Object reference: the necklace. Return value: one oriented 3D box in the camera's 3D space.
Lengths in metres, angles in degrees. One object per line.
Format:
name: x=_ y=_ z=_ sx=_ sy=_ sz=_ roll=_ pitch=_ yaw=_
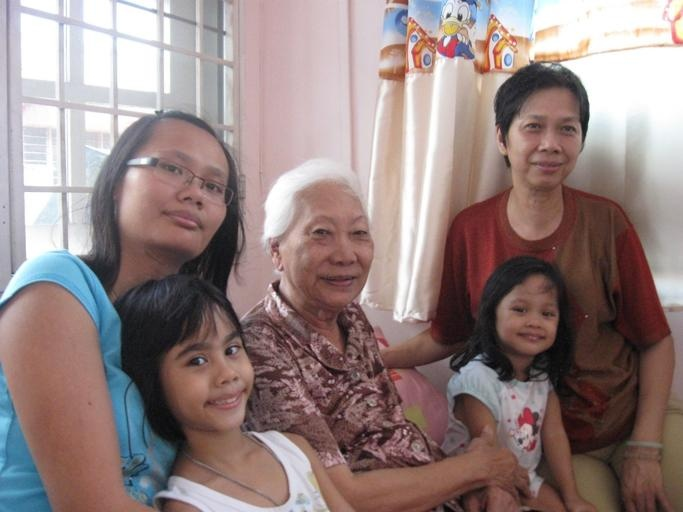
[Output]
necklace: x=-0.277 y=0.542 z=1.478 sx=0.228 sy=0.061 sz=0.129 roll=36 pitch=41 yaw=14
